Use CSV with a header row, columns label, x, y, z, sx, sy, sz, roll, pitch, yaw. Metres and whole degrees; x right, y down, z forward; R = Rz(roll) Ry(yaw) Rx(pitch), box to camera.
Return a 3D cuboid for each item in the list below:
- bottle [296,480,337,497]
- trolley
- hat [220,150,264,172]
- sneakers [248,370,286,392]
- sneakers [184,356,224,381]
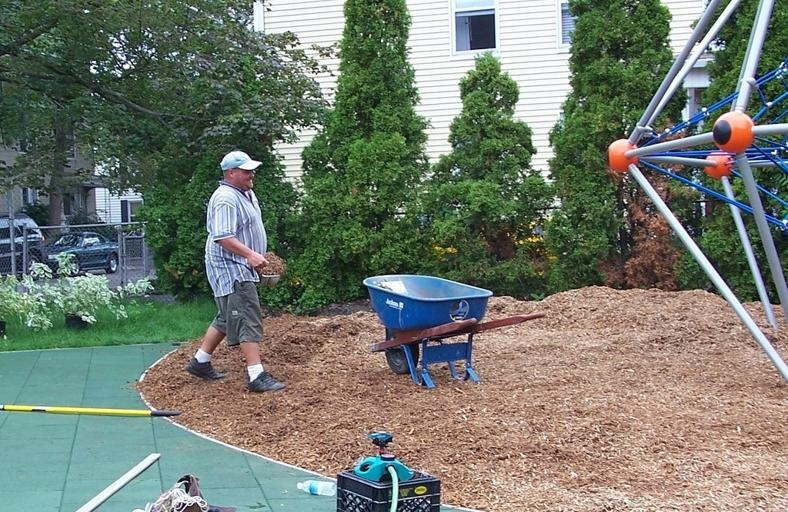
label,x,y,z,sx,sy,sz,roll,pitch,yaw
bottle,-0.781,2.377,9.372,0.342,0.096,0.173,3,2,6
trolley,0.465,0.903,11.225,1.293,1.233,1.589,-10,10,-25
hat,-1.833,-1.148,11.121,0.517,0.182,0.307,-1,10,-5
sneakers,-1.517,1.520,11.044,0.427,0.188,0.223,0,2,8
sneakers,-2.367,1.420,11.574,0.586,0.262,0.202,20,8,-18
